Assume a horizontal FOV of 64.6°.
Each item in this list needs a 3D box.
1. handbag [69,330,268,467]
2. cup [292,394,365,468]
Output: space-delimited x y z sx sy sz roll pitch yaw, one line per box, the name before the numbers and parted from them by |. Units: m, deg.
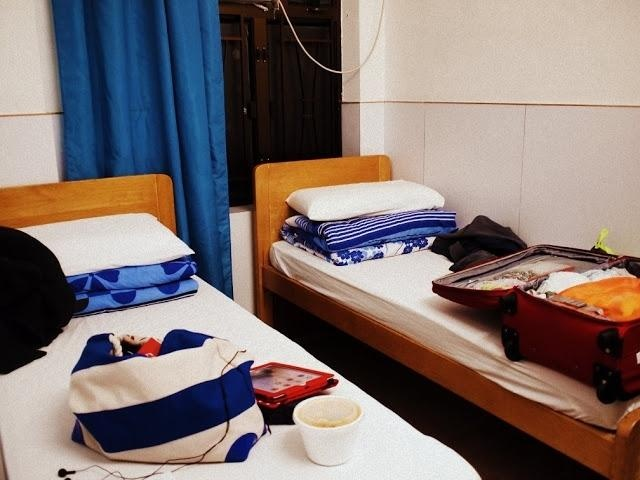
handbag | -0.407 0.392 1.305 0.472 0.282 0.373 1 6 -25
cup | 0.016 0.417 1.210 0.185 0.147 0.191 1 11 0
